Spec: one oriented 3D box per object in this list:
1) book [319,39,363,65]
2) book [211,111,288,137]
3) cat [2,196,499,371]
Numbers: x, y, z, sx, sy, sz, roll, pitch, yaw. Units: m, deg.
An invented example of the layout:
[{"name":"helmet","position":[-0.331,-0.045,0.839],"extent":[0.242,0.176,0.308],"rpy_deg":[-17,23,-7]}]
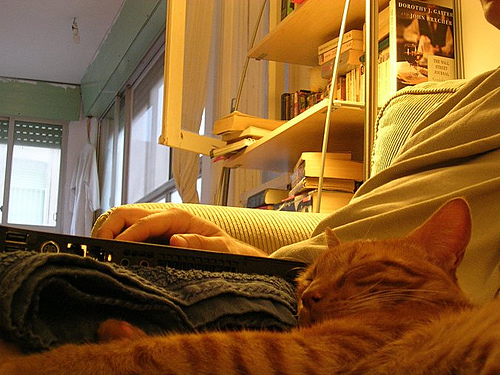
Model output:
[{"name":"book","position":[0.344,-0.498,1.961],"extent":[0.132,0.041,0.152],"rpy_deg":[-2,-1,-27]},{"name":"book","position":[0.012,-0.283,2.365],"extent":[0.172,0.067,0.176],"rpy_deg":[-3,3,-35]},{"name":"cat","position":[0.053,0.115,0.518],"extent":[0.290,0.142,0.215],"rpy_deg":[-1,-25,-8]}]
